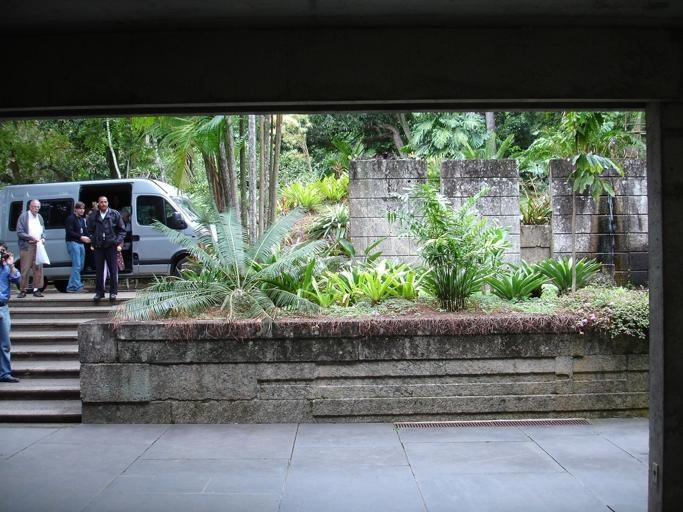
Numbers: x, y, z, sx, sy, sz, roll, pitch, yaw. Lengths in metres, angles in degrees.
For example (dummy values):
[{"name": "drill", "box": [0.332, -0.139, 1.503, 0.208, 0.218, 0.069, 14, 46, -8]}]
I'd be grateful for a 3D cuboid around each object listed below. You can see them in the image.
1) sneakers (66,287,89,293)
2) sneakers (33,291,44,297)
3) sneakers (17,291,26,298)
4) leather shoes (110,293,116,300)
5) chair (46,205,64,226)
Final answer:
[{"name": "sneakers", "box": [-5.334, 0.669, 13.939, 0.420, 0.199, 0.152, 0, 1, -5]}, {"name": "sneakers", "box": [-5.843, 0.707, 13.316, 0.278, 0.112, 0.103, -2, -3, 43]}, {"name": "sneakers", "box": [-6.032, 0.708, 13.048, 0.091, 0.115, 0.266, 6, -4, -37]}, {"name": "leather shoes", "box": [-4.063, 0.695, 12.304, 0.086, 0.103, 0.237, 1, -8, -17]}, {"name": "chair", "box": [-6.186, -0.891, 14.955, 0.391, 0.693, 0.371, 2, -10, -25]}]
